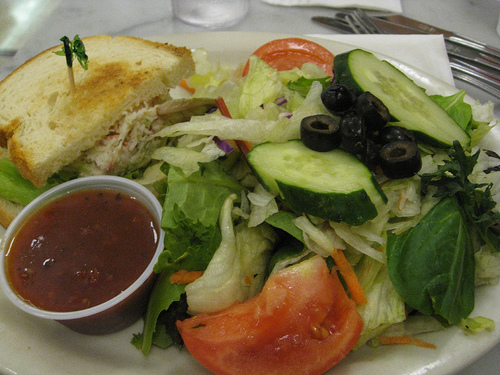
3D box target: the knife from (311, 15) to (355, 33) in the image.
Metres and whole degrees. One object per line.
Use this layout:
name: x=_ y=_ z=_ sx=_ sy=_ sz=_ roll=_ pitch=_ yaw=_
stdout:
knife: x=0.655 y=-1.338 z=3.830 sx=0.422 sy=0.020 sz=0.106 roll=26 pitch=61 yaw=23

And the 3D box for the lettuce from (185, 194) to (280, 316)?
lettuce: x=-0.128 y=0.317 z=2.357 sx=0.163 sy=0.375 sz=0.578 roll=-1 pitch=55 yaw=59

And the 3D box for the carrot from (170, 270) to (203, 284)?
carrot: x=-0.296 y=0.423 z=2.206 sx=0.149 sy=0.041 sz=0.065 roll=-2 pitch=46 yaw=-6

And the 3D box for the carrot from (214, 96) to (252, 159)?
carrot: x=-0.082 y=-0.292 z=2.364 sx=0.381 sy=0.056 sz=0.058 roll=62 pitch=25 yaw=9

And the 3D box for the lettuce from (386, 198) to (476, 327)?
lettuce: x=0.816 y=0.323 z=2.060 sx=0.415 sy=0.308 sz=0.461 roll=-8 pitch=47 yaw=-12
